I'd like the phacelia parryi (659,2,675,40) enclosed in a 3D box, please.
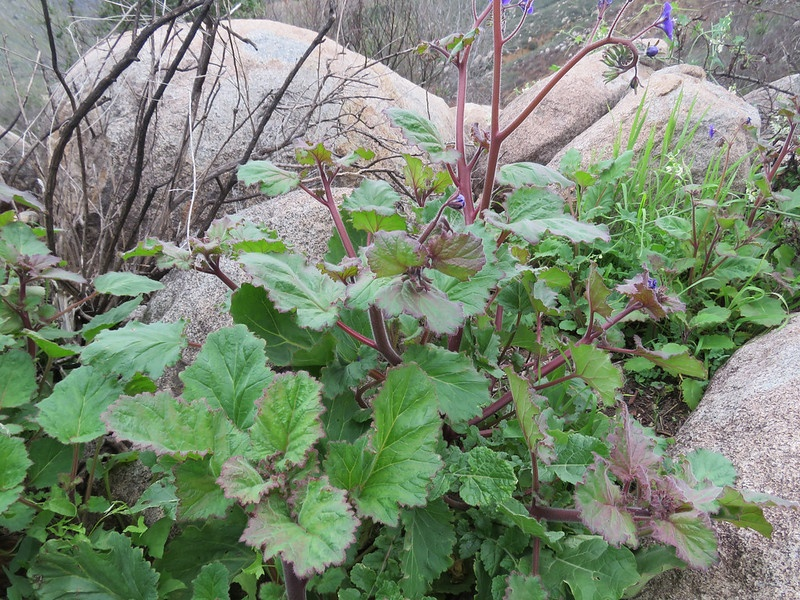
[{"bbox_3d":[1.101,-1.156,3.056,0.059,0.150,0.189,8,16,17],"label":"phacelia parryi"}]
